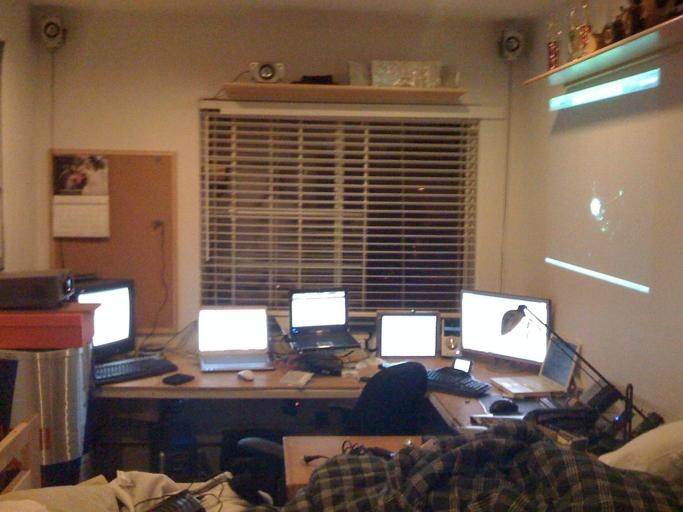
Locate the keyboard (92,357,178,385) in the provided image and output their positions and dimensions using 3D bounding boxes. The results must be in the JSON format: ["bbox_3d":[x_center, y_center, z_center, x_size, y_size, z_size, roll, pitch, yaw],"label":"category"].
[{"bbox_3d":[-1.348,0.729,4.078,0.507,0.092,0.298,-4,5,-39],"label":"keyboard"}]

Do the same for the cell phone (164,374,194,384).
[{"bbox_3d":[-1.025,0.771,3.991,0.169,0.040,0.165,1,5,24],"label":"cell phone"}]

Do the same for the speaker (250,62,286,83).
[{"bbox_3d":[-0.496,-1.234,4.230,0.196,0.142,0.115,-3,5,-29],"label":"speaker"}]

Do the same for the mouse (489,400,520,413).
[{"bbox_3d":[0.941,0.861,3.688,0.142,0.045,0.073,-5,6,-3],"label":"mouse"}]

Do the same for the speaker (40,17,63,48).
[{"bbox_3d":[-1.986,-1.540,4.360,0.129,0.114,0.224,-1,0,-14],"label":"speaker"}]

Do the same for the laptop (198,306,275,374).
[{"bbox_3d":[-0.738,0.554,4.368,0.578,0.359,0.410,0,-1,-9],"label":"laptop"}]

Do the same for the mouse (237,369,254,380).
[{"bbox_3d":[-0.606,0.756,4.065,0.105,0.060,0.130,-1,4,-8],"label":"mouse"}]

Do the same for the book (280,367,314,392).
[{"bbox_3d":[-0.282,0.782,4.055,0.181,0.064,0.232,0,4,11],"label":"book"}]

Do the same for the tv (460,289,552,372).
[{"bbox_3d":[1.110,0.504,4.254,0.598,0.398,0.081,3,1,35],"label":"tv"}]

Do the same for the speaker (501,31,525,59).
[{"bbox_3d":[1.213,-1.503,4.521,0.191,0.171,0.060,-15,10,0],"label":"speaker"}]

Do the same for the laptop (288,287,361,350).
[{"bbox_3d":[-0.176,0.416,4.511,0.607,0.483,0.413,-1,2,-12],"label":"laptop"}]
